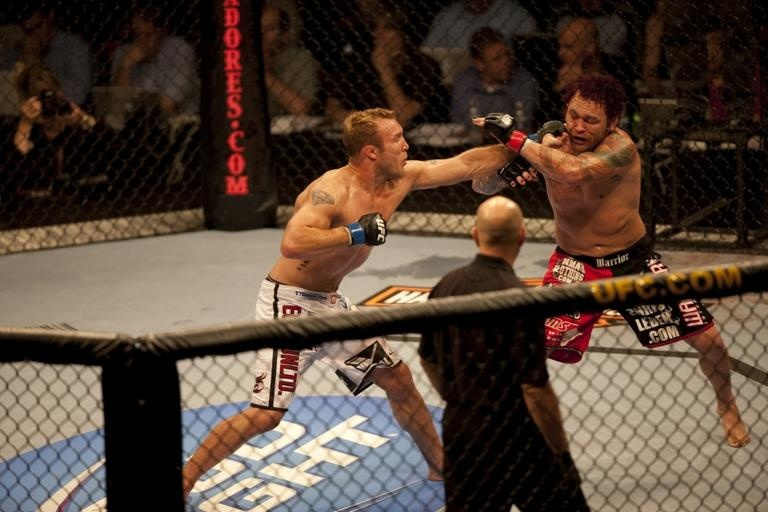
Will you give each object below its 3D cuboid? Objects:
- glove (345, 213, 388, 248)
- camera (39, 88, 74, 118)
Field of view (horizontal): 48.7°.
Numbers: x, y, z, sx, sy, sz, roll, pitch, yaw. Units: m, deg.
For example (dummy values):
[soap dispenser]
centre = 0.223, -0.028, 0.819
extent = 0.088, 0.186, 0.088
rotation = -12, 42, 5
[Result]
[glove]
centre = -0.081, -0.131, 4.335
extent = 0.224, 0.087, 0.129
rotation = -11, 58, 10
[camera]
centre = -3.095, -1.443, 8.028
extent = 0.269, 0.245, 0.107
rotation = -10, 8, -17
